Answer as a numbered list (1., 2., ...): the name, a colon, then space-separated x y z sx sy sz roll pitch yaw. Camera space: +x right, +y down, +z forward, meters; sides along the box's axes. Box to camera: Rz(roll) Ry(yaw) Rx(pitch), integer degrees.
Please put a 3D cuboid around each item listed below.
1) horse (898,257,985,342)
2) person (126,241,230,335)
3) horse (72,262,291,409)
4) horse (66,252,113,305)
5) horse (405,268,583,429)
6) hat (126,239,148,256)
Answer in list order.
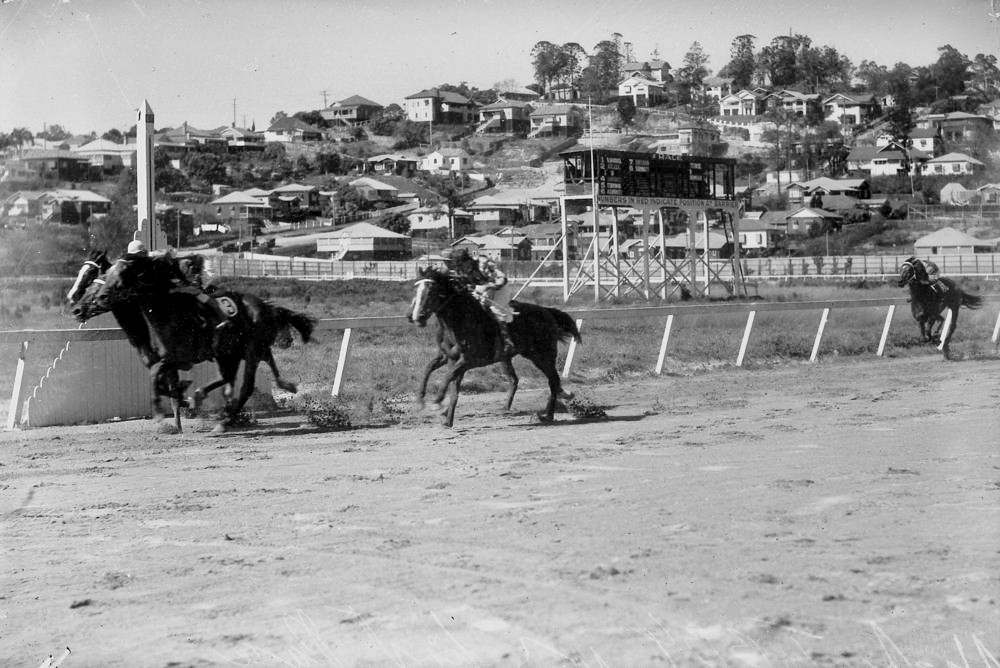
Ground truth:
1. horse: 8.700 -0.667 28.013 2.453 1.454 0.497 5 -5 -32
2. person: -4.382 -0.630 18.767 1.479 1.164 0.836 -4 9 -32
3. horse: -4.014 -0.044 19.102 0.913 1.925 3.743 -1 -4 42
4. horse: -5.344 -0.728 18.482 0.556 0.670 0.607 0 7 -3
5. horse: -0.133 0.127 19.888 2.466 2.150 1.362 -2 8 -18
6. hat: -4.780 -1.091 18.590 0.294 0.206 0.403 -8 5 -8
